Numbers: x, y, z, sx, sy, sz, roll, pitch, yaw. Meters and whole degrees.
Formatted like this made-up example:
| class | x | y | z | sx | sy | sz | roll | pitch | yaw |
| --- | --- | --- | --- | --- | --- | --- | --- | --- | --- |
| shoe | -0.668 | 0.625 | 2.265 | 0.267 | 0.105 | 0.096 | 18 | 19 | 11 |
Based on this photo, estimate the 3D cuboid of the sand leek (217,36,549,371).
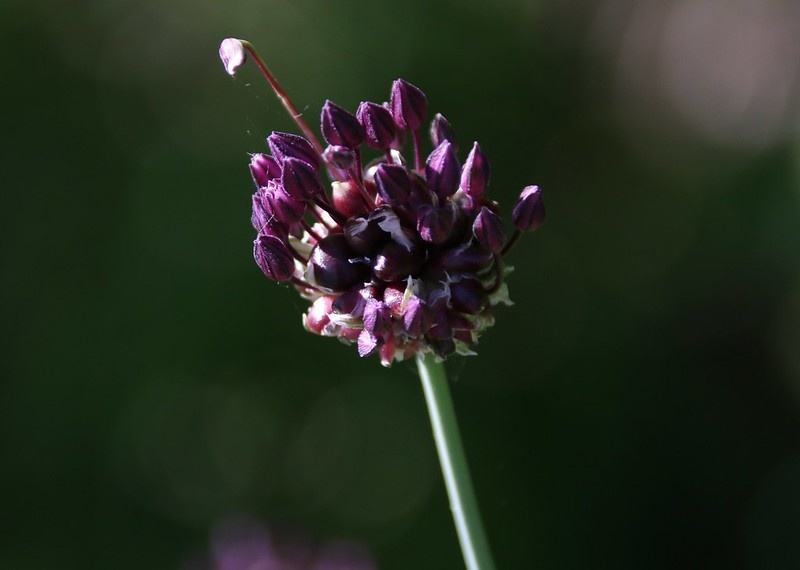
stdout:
| class | x | y | z | sx | sy | sz | roll | pitch | yaw |
| --- | --- | --- | --- | --- | --- | --- | --- | --- | --- |
| sand leek | -0.004 | -0.272 | 2.614 | 0.645 | 0.704 | 1.078 | -24 | 76 | -14 |
